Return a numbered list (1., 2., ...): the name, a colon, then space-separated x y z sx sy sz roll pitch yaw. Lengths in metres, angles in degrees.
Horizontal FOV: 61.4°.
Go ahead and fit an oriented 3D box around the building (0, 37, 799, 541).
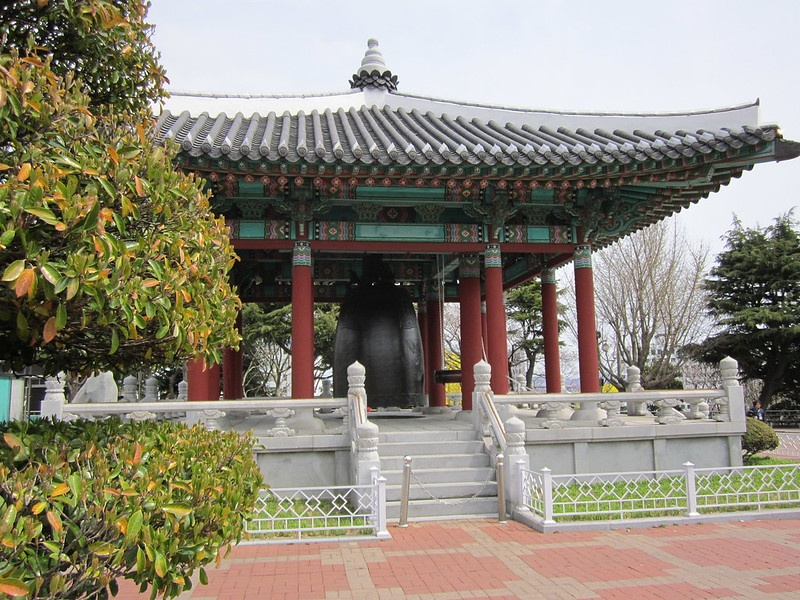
1. building: 0.468 -1.655 16.793 11.489 7.378 11.200 0 -7 -7
